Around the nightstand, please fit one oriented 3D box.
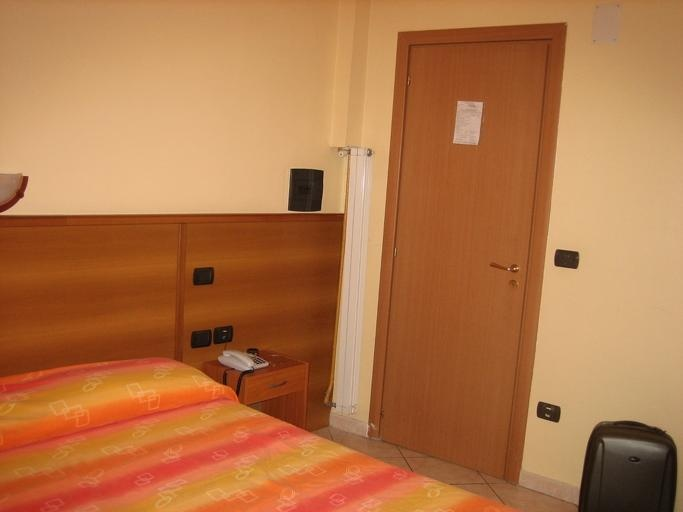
[{"bbox_3d":[-0.563,0.920,3.154,0.431,0.462,0.550,3,0,35],"label":"nightstand"}]
